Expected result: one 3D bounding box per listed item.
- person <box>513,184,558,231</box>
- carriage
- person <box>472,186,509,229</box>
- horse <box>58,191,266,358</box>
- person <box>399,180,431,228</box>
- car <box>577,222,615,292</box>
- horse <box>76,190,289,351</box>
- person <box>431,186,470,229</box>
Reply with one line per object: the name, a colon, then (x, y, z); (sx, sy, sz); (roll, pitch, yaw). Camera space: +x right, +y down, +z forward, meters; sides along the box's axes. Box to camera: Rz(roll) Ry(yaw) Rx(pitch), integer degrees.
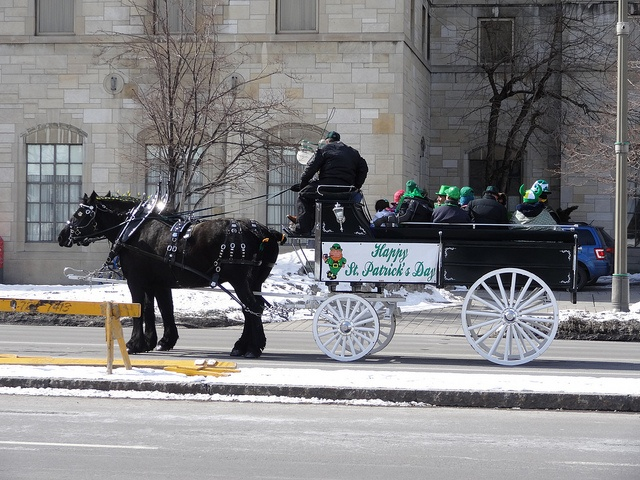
person: (4.369, -0.582, 33.151); (1.146, 1.032, 0.692); (1, 12, 18)
carriage: (-0.220, 0.656, 33.492); (11.628, 3.242, 3.050); (1, 10, 11)
person: (3.502, -0.671, 33.285); (0.616, 0.849, 0.537); (0, 4, 10)
horse: (-3.124, 0.747, 33.494); (5.574, 3.004, 1.612); (4, -1, 23)
person: (2.021, -0.842, 34.073); (0.858, 1.218, 1.352); (-3, 1, 3)
car: (7.419, 0.496, 43.393); (1.033, 1.788, 1.146); (3, 11, 21)
horse: (-3.005, 0.782, 33.460); (5.514, 3.012, 1.438); (4, 1, 24)
person: (2.651, -0.738, 33.058); (0.981, 0.748, 0.490); (-1, 12, -24)
